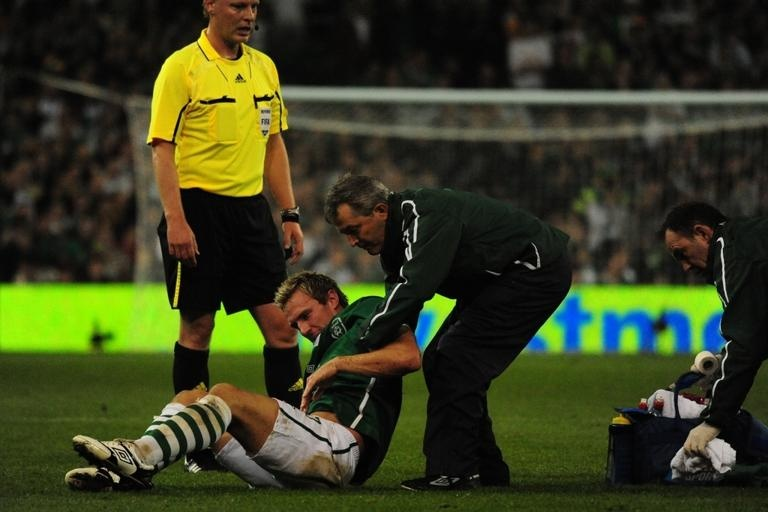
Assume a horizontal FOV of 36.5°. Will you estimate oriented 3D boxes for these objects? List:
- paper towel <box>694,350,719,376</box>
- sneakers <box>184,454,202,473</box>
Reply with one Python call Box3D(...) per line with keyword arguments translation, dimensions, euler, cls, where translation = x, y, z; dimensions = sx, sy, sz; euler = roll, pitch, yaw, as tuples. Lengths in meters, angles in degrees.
Box3D(translation=(2.817, 0.919, 10.213), dimensions=(0.203, 0.168, 0.204), euler=(44, 14, 2), cls="paper towel")
Box3D(translation=(-1.673, 1.827, 10.285), dimensions=(0.092, 0.112, 0.249), euler=(-18, 1, -29), cls="sneakers")
